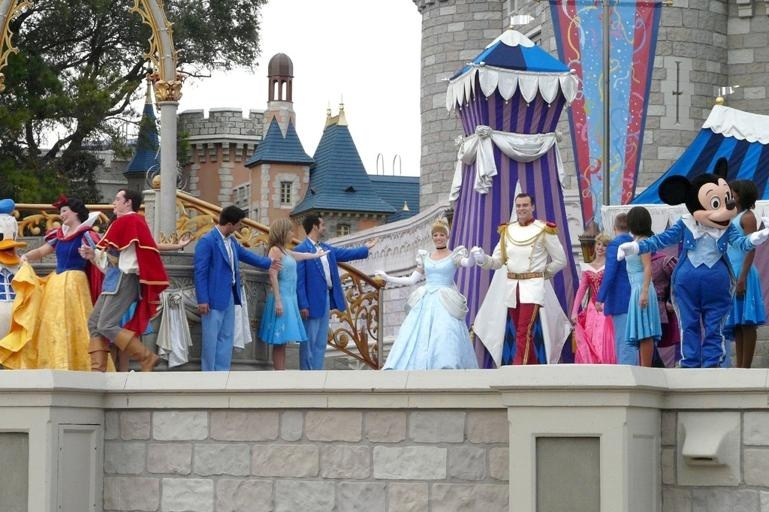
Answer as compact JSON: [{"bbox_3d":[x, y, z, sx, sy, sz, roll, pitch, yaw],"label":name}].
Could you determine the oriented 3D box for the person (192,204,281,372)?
[{"bbox_3d":[-1.929,0.412,26.913,0.809,1.792,0.319,-1,-1,-43],"label":"person"}]

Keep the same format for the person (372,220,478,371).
[{"bbox_3d":[0.605,0.482,26.755,1.017,1.683,0.493,-2,0,4],"label":"person"}]

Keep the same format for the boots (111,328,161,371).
[{"bbox_3d":[-2.941,1.125,25.935,0.494,0.437,1.009,-1,-1,-18],"label":"boots"}]

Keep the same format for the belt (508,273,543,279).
[{"bbox_3d":[1.754,0.260,26.860,0.426,0.086,0.097,-1,-1,3],"label":"belt"}]

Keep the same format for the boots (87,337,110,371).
[{"bbox_3d":[-3.381,1.171,26.022,0.230,0.365,0.257,-1,0,-16],"label":"boots"}]

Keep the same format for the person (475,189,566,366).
[{"bbox_3d":[1.720,0.309,26.961,1.125,1.988,0.606,-2,0,3],"label":"person"}]
